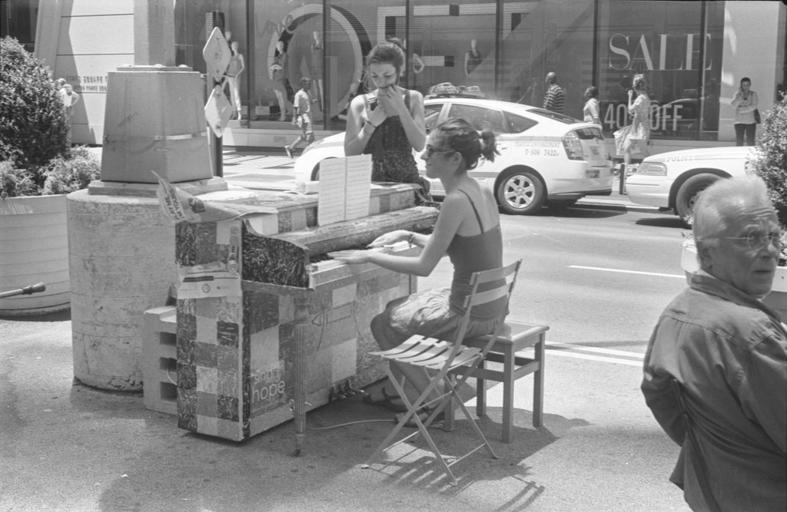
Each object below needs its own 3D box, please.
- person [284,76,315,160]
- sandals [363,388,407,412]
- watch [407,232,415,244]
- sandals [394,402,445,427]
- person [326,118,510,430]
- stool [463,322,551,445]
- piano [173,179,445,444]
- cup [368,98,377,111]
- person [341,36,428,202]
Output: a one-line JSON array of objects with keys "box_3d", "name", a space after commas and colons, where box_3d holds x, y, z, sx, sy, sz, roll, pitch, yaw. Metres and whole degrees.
[{"box_3d": [-2.411, -3.703, 23.614, 1.110, 2.046, 0.704, -2, 2, 13], "name": "person"}, {"box_3d": [-0.057, 1.200, 7.346, 0.279, 0.092, 0.202, -1, 9, -34], "name": "sandals"}, {"box_3d": [0.140, -0.149, 7.143, 0.051, 0.064, 0.118, 3, -11, 2], "name": "watch"}, {"box_3d": [0.229, 1.287, 7.129, 0.279, 0.085, 0.280, -1, -2, 30], "name": "sandals"}, {"box_3d": [0.283, 0.034, 6.606, 1.183, 2.246, 0.943, 1, 3, 12], "name": "person"}, {"box_3d": [1.007, 0.931, 6.931, 0.712, 1.016, 0.882, 2, 3, 36], "name": "stool"}, {"box_3d": [-0.701, 0.401, 7.452, 1.676, 2.251, 3.268, 2, 6, 22], "name": "piano"}, {"box_3d": [-0.184, -1.387, 7.968, 0.072, 0.115, 0.125, -3, 13, -20], "name": "cup"}, {"box_3d": [-0.049, -1.205, 7.966, 0.606, 1.585, 0.860, 1, -1, 7], "name": "person"}]
